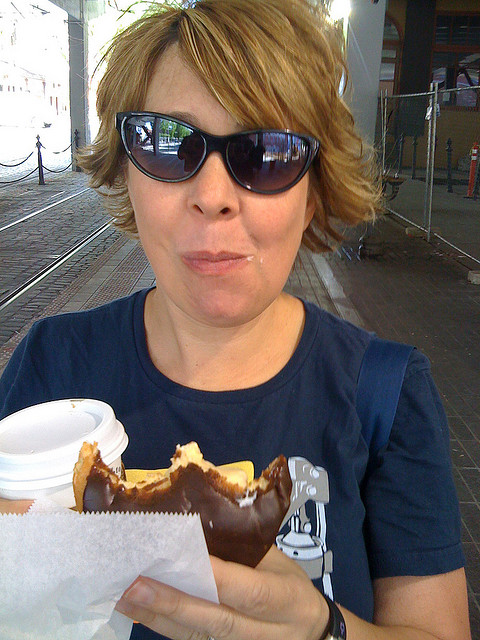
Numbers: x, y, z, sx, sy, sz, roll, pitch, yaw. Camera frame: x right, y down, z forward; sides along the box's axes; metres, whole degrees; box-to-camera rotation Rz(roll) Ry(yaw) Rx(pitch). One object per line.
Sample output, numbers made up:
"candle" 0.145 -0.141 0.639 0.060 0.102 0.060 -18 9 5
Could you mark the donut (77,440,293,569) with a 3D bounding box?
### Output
"donut" -0.088 0.265 0.856 0.270 0.154 0.230 -2 -18 11
